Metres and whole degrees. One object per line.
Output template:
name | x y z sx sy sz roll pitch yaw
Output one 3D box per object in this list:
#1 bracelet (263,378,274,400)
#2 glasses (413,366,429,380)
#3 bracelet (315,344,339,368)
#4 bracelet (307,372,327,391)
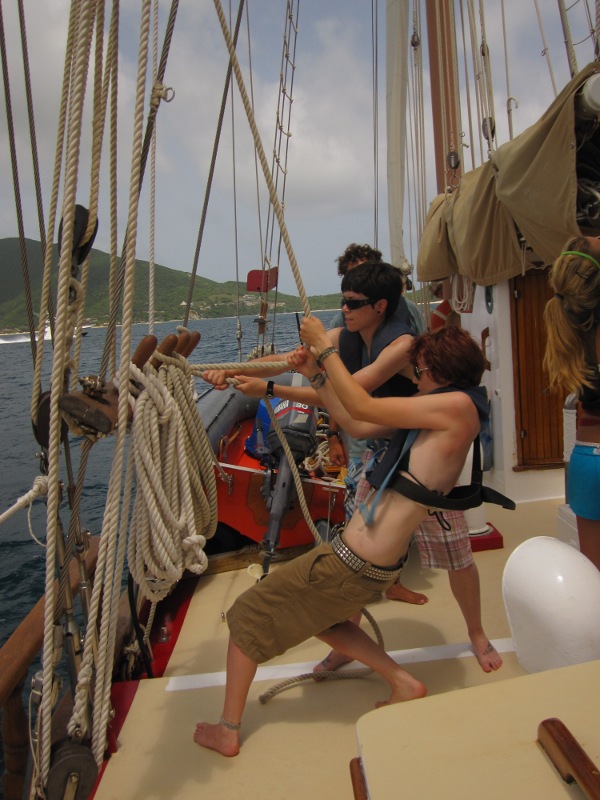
bracelet | -0.124 -0.039 2.441 0.043 0.065 0.068 -1 -12 0
glasses | 0.383 -0.087 1.959 0.040 0.017 0.029 15 -5 -32
bracelet | 0.085 -0.135 1.982 0.031 0.061 0.058 44 49 15
bracelet | 0.058 -0.066 2.107 0.044 0.044 0.057 -3 -4 -5
